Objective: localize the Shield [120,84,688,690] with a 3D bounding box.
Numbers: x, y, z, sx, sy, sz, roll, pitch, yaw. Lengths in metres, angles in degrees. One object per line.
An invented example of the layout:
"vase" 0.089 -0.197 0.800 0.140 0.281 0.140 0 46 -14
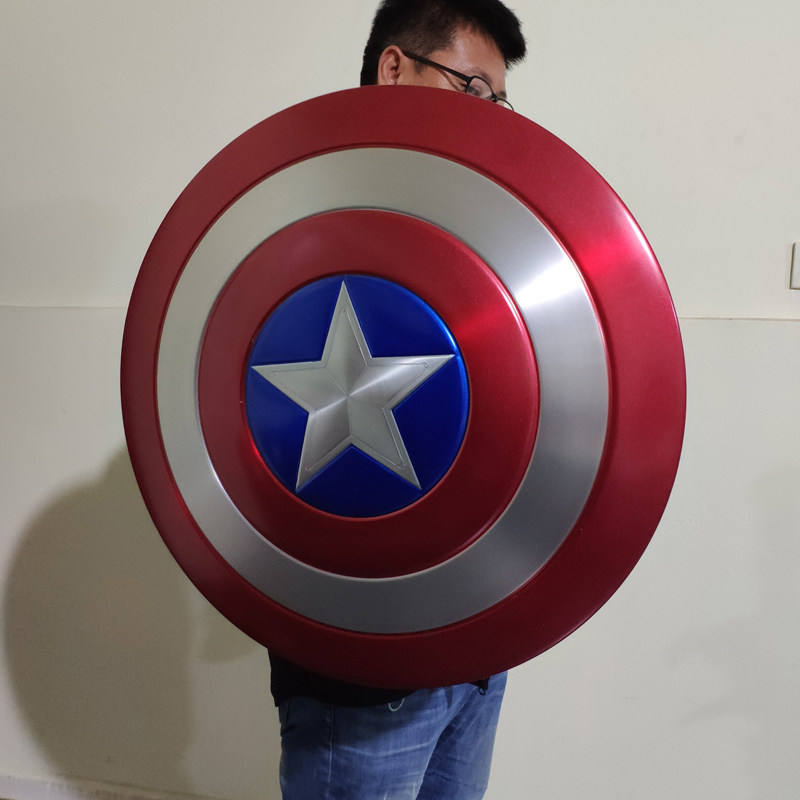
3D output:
"Shield" -0.040 -0.024 1.198 0.718 0.905 0.111 5 28 8

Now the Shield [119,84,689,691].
"Shield" -0.048 -0.023 1.201 0.714 0.896 0.112 6 30 6
